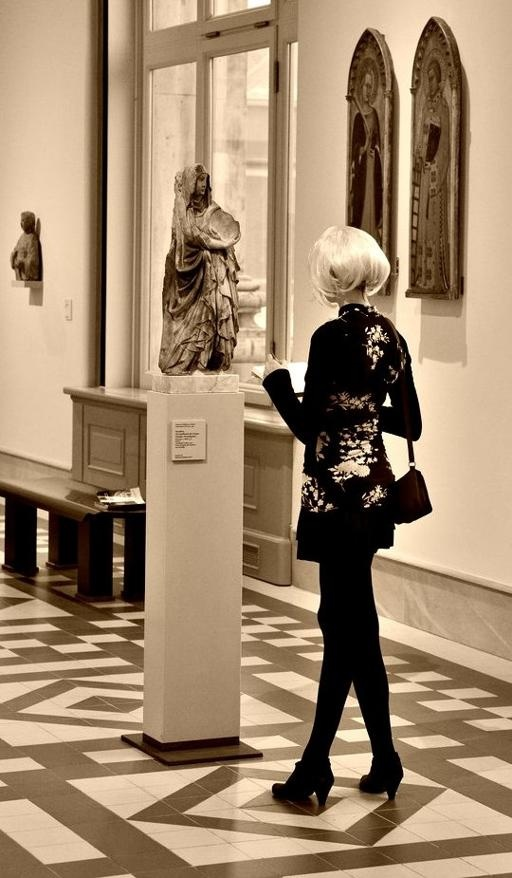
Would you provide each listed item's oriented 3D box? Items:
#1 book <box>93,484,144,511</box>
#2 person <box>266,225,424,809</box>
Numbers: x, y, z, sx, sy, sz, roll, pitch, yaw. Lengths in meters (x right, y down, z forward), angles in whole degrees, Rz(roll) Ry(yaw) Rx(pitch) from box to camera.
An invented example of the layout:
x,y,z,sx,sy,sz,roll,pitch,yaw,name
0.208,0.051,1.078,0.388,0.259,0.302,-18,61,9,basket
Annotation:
x,y,z,sx,sy,sz,roll,pitch,yaw,name
-0.774,0.335,5.474,0.264,0.110,0.490,2,-2,-9,book
0.216,0.217,2.410,0.351,1.453,0.453,0,-3,38,person
